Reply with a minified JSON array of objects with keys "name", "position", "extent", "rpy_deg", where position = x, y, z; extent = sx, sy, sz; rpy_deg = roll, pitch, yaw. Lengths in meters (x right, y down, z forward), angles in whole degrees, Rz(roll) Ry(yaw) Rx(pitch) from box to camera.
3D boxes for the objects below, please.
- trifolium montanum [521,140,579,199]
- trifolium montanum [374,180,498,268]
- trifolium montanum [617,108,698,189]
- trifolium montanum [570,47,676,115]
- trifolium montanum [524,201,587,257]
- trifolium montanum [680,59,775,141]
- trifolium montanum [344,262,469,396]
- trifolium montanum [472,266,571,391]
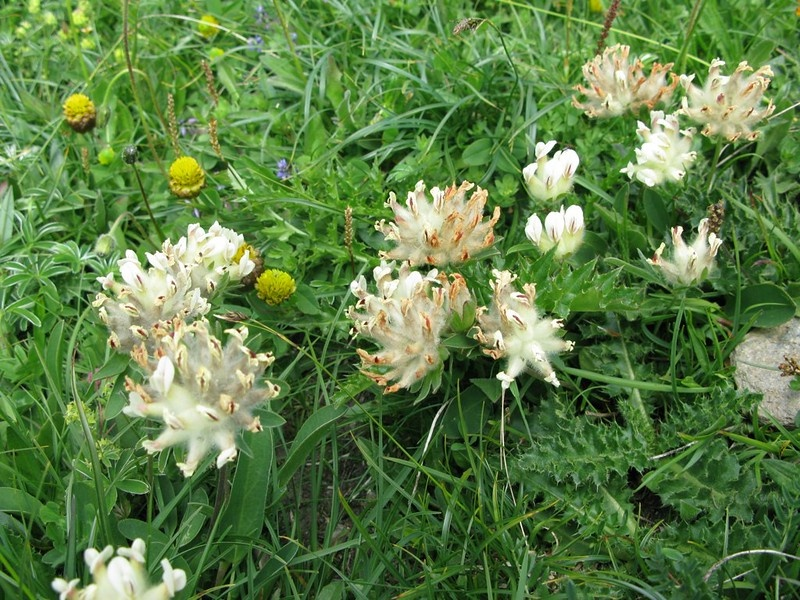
[{"name":"trifolium montanum","position":[0.692,-0.592,3.471],"extent":[0.213,0.273,0.209],"rpy_deg":[24,59,20]},{"name":"trifolium montanum","position":[0.176,-0.334,3.287],"extent":[0.400,0.246,0.409],"rpy_deg":[-11,33,-13]},{"name":"trifolium montanum","position":[1.218,-0.704,3.524],"extent":[0.335,0.194,0.377],"rpy_deg":[-21,65,9]},{"name":"trifolium montanum","position":[1.096,-1.049,3.681],"extent":[0.398,0.402,0.245],"rpy_deg":[12,32,15]},{"name":"trifolium montanum","position":[0.688,-0.324,3.332],"extent":[0.220,0.213,0.228],"rpy_deg":[-14,40,31]},{"name":"trifolium montanum","position":[1.531,-0.918,3.591],"extent":[0.401,0.219,0.441],"rpy_deg":[13,87,26]},{"name":"trifolium montanum","position":[0.024,0.086,3.198],"extent":[0.417,0.339,0.543],"rpy_deg":[29,62,21]},{"name":"trifolium montanum","position":[0.498,0.127,3.098],"extent":[0.420,0.285,0.316],"rpy_deg":[38,65,25]}]
